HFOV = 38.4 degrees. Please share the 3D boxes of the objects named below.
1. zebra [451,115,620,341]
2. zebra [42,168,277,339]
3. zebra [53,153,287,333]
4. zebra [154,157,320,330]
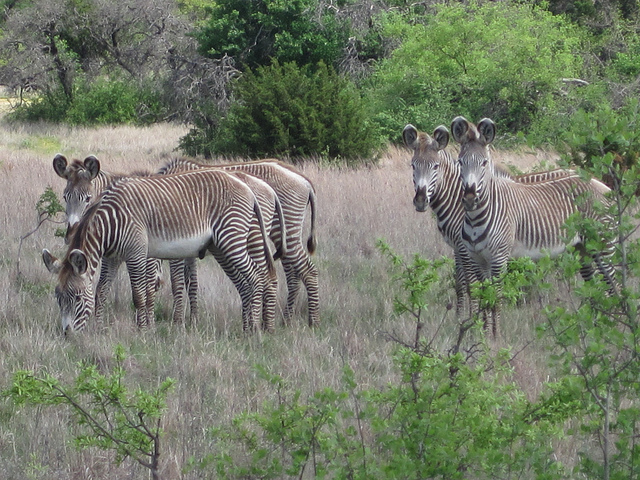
[{"bbox_3d":[2.889,-0.119,12.548,2.123,3.017,1.628,4,7,19],"label":"zebra"},{"bbox_3d":[-2.204,0.168,12.656,2.851,2.263,0.871,-1,7,-21],"label":"zebra"},{"bbox_3d":[-2.280,0.010,13.180,3.078,2.617,0.955,0,7,-1],"label":"zebra"},{"bbox_3d":[-1.706,0.171,13.866,2.603,2.525,0.765,0,6,34],"label":"zebra"}]
